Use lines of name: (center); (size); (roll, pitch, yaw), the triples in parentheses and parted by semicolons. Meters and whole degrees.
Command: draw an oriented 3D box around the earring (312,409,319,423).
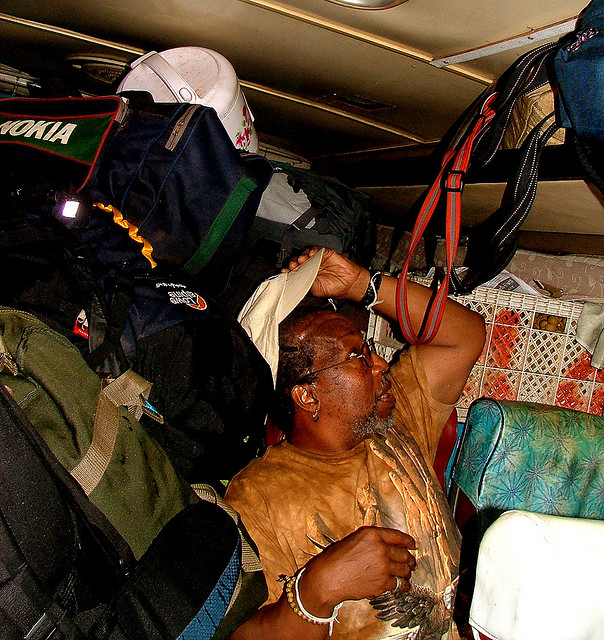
earring: (0.044, 0.296, 1.586); (0.019, 0.042, 0.005); (9, 21, 5)

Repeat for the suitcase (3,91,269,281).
suitcase: (-0.457, -0.314, 1.560); (0.694, 0.474, 0.649); (-1, -3, -20)

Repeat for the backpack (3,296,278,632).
backpack: (-0.344, 0.293, 1.078); (0.357, 0.664, 0.478); (-26, 42, 21)

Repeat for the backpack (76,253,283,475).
backpack: (-0.314, 0.113, 1.299); (0.516, 0.283, 0.402); (45, 54, -6)
